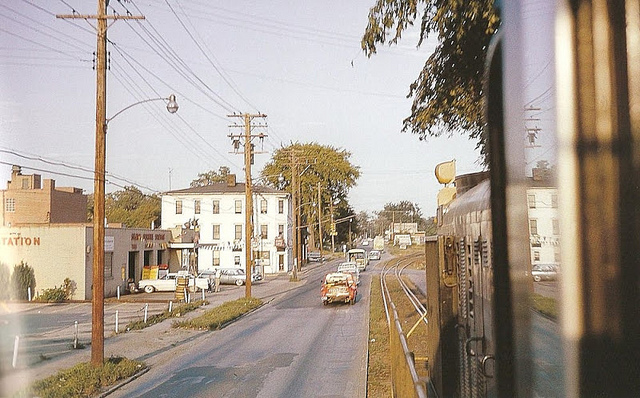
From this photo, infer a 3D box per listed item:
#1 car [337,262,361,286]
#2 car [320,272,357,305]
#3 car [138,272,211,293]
[{"bbox_3d":[1.829,4.690,35.294,1.526,1.296,3.447,-2,-14,4],"label":"car"},{"bbox_3d":[0.971,4.598,28.662,1.384,1.320,2.593,-1,-10,4],"label":"car"},{"bbox_3d":[-10.047,5.862,38.932,3.890,1.265,2.154,1,-7,3],"label":"car"}]
